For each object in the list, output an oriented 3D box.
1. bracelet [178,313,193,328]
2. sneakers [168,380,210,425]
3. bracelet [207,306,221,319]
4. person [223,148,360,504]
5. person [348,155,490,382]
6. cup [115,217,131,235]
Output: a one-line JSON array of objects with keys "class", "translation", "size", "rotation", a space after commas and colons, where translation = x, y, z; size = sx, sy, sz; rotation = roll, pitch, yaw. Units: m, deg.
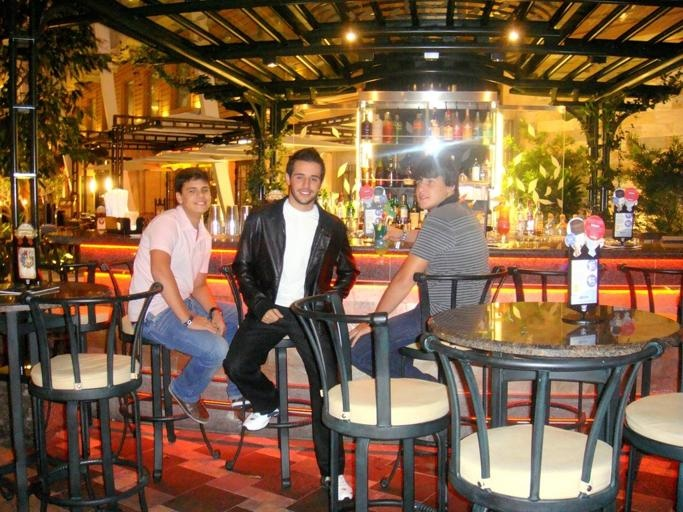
[{"class": "bracelet", "translation": [-0.987, 0.405, 3.710], "size": [0.060, 0.078, 0.041], "rotation": [3, -8, 23]}, {"class": "sneakers", "translation": [-0.985, 0.988, 3.904], "size": [0.336, 0.128, 0.127], "rotation": [31, -17, 33]}, {"class": "bracelet", "translation": [-0.868, 0.381, 3.985], "size": [0.086, 0.062, 0.083], "rotation": [0, -1, -20]}, {"class": "person", "translation": [-0.315, 0.373, 3.698], "size": [0.802, 2.051, 0.881], "rotation": [-1, 12, 1]}, {"class": "person", "translation": [0.479, 0.105, 3.639], "size": [0.856, 1.411, 0.717], "rotation": [-1, 12, 3]}, {"class": "cup", "translation": [-2.186, -0.299, 5.928], "size": [0.162, 0.175, 0.143], "rotation": [3, 3, -13]}]
